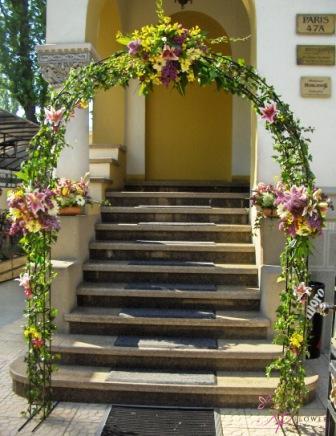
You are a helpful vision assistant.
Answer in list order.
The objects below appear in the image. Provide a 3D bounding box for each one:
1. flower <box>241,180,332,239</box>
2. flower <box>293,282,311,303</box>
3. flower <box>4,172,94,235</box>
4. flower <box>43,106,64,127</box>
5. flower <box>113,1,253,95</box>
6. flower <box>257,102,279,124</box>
[{"bbox_3d":[0.731,-0.129,2.804,0.460,0.361,0.512,10,-13,-1],"label":"flower"},{"bbox_3d":[0.823,0.451,2.763,0.101,0.159,0.079,0,-5,25],"label":"flower"},{"bbox_3d":[-0.802,-0.085,3.026,0.547,0.511,0.393,4,-5,-24],"label":"flower"},{"bbox_3d":[-0.721,-0.635,2.881,0.125,0.133,0.153,-1,6,-15],"label":"flower"},{"bbox_3d":[-0.015,-0.998,3.053,0.853,0.628,0.911,-3,5,-19],"label":"flower"},{"bbox_3d":[0.617,-0.642,2.795,0.098,0.111,0.113,2,6,13],"label":"flower"}]
